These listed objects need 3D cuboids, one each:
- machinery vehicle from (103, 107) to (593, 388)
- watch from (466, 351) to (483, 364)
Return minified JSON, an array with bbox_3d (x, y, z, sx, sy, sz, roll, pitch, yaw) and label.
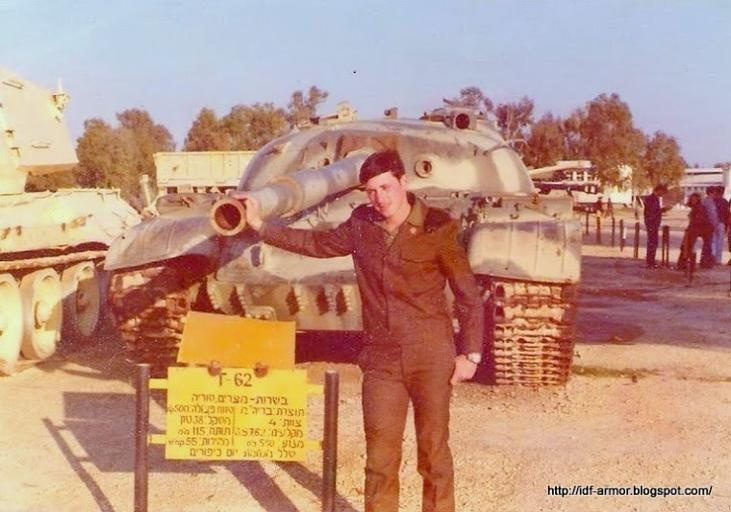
[{"bbox_3d":[0.121,-0.220,8.668,3.828,2.686,5.442,0,4,13],"label":"machinery vehicle"},{"bbox_3d":[0.788,0.743,5.081,0.094,0.074,0.096,-2,11,4],"label":"watch"}]
